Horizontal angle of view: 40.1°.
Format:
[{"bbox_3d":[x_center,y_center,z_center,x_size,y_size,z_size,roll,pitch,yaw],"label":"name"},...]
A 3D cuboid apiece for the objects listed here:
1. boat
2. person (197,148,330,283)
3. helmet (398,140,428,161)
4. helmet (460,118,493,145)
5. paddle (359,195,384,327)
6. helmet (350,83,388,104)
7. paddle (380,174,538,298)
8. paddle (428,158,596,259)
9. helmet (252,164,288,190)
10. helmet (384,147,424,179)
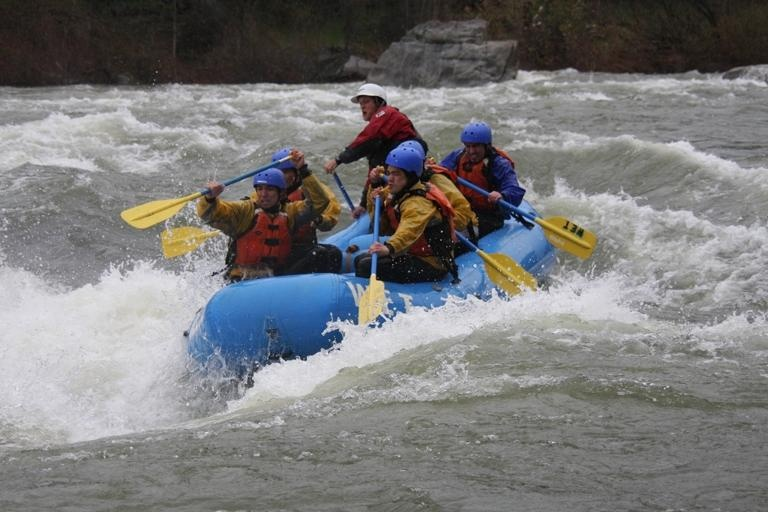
[{"bbox_3d":[-0.126,0.712,13.494,4.181,1.046,1.935,-22,32,-31],"label":"boat"},{"bbox_3d":[-1.518,-1.030,14.857,1.276,2.201,1.145,4,51,2],"label":"person"},{"bbox_3d":[0.396,-1.419,13.578,0.400,0.179,0.264,25,6,-2],"label":"helmet"},{"bbox_3d":[1.285,-1.684,14.694,0.338,0.402,0.300,2,54,22],"label":"helmet"},{"bbox_3d":[-0.111,0.186,12.911,0.046,1.084,0.276,-13,-15,33],"label":"paddle"},{"bbox_3d":[-0.179,-2.368,14.749,0.492,0.346,0.196,11,72,-20],"label":"helmet"},{"bbox_3d":[1.111,-0.157,13.726,1.951,0.138,0.433,38,60,23],"label":"paddle"},{"bbox_3d":[1.848,-0.630,14.712,2.481,0.164,0.336,28,18,32],"label":"paddle"},{"bbox_3d":[-1.493,-1.030,13.745,0.305,0.350,0.302,0,63,11],"label":"helmet"},{"bbox_3d":[0.287,-1.184,13.266,0.482,0.249,0.349,-9,31,-40],"label":"helmet"}]
